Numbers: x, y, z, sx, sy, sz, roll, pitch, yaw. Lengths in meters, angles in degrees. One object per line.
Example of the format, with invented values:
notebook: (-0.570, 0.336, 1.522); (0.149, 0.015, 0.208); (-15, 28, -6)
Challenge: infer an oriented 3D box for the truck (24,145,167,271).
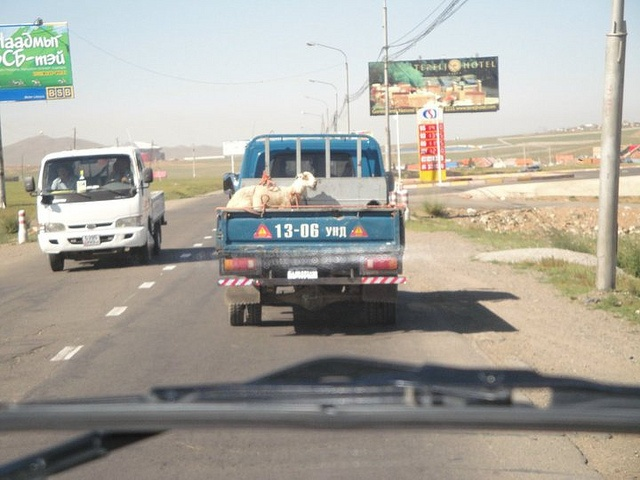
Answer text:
truck: (-5.134, -0.818, 21.174); (2.622, 2.651, 5.488); (-3, 3, -5)

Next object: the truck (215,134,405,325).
truck: (-0.110, -0.269, 13.415); (2.137, 2.081, 3.589); (0, 9, -3)
